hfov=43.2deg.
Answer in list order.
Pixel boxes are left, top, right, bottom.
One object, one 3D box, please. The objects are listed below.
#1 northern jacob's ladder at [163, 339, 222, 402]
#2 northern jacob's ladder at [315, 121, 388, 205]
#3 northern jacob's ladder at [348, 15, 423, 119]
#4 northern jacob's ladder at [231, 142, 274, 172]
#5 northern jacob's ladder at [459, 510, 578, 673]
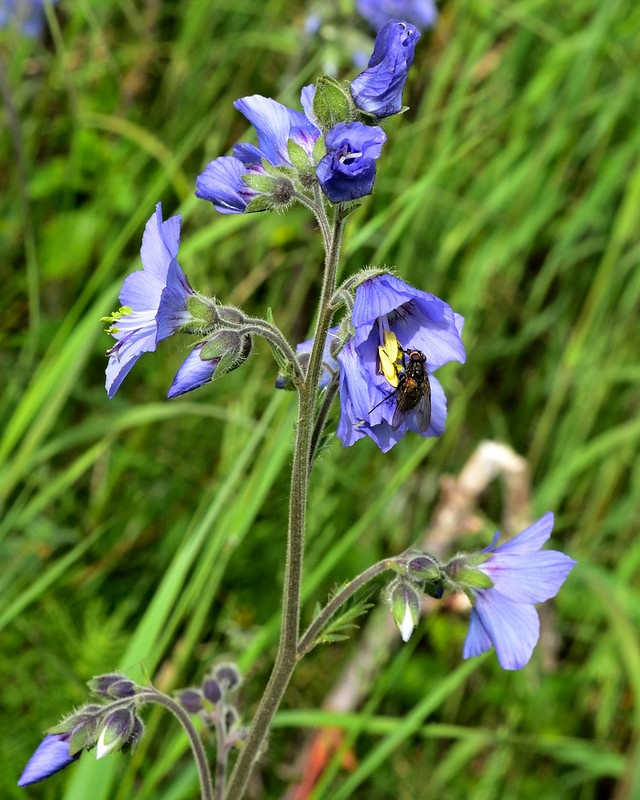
[{"bbox_3d":[-0.253,-0.050,1.657,0.082,0.096,0.156,5,62,1],"label":"northern jacob's ladder"},{"bbox_3d":[0.053,-0.425,1.514,0.121,0.159,0.138,6,62,2],"label":"northern jacob's ladder"},{"bbox_3d":[0.123,-0.650,1.606,0.105,0.154,0.153,18,63,8],"label":"northern jacob's ladder"},{"bbox_3d":[-0.152,-0.537,1.766,0.068,0.065,0.029,26,48,-18],"label":"northern jacob's ladder"},{"bbox_3d":[0.420,0.400,1.747,0.167,0.155,0.319,25,64,12],"label":"northern jacob's ladder"}]
